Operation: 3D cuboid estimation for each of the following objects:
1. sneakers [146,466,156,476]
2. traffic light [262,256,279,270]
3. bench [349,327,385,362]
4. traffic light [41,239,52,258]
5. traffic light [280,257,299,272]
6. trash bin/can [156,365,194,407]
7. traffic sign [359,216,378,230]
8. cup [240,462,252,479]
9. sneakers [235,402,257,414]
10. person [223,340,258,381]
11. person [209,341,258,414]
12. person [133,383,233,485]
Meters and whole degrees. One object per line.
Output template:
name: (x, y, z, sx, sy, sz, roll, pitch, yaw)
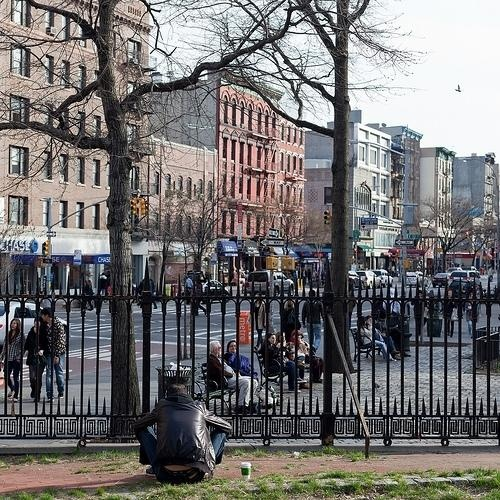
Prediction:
sneakers: (-1.240, 2.761, 16.631, 0.061, 0.093, 0.197, 2, -1, -15)
traffic light: (0.685, 0.384, 46.399, 0.326, 0.628, 0.649, -2, -4, 25)
bench: (2.339, 1.786, 26.280, 0.792, 0.721, 0.568, -1, 3, 27)
traffic light: (-7.305, -0.134, 47.903, 0.287, 0.648, 1.686, 0, -6, -10)
traffic light: (1.416, 0.458, 48.361, 0.711, 0.860, 0.576, 0, -6, -6)
trash bin/can: (-1.038, 1.903, 18.810, 0.559, 0.623, 0.557, -2, -6, 32)
traffic sign: (6.935, -1.728, 79.052, 1.251, 1.064, 0.782, 0, -5, -1)
cup: (-0.058, 2.708, 16.375, 0.151, 0.199, 0.167, 0, -8, -3)
sneakers: (-0.062, 2.333, 19.588, 0.257, 0.198, 0.383, 2, -9, -11)
person: (-0.177, 1.805, 21.636, 0.549, 0.804, 0.604, -3, -24, -12)
person: (-0.424, 2.051, 20.524, 0.556, 0.796, 1.417, -10, -4, -11)
person: (-0.840, 2.247, 16.361, 1.139, 1.209, 0.773, -1, -5, -2)
